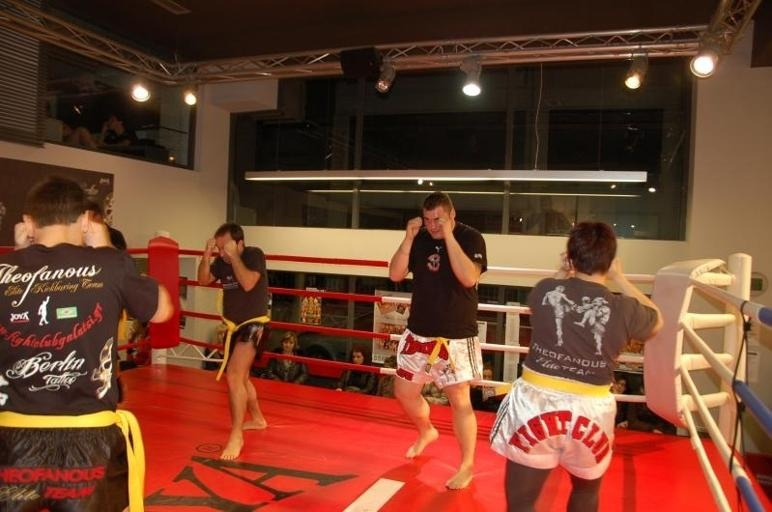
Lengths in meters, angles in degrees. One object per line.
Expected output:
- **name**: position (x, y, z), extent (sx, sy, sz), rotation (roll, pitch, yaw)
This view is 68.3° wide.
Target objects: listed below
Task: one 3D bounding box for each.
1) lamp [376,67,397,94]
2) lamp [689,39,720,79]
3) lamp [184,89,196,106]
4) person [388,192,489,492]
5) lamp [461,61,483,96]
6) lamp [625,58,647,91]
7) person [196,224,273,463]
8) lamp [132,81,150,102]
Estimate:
- **lamp**: position (0.002, -2.283, 7.306), extent (0.207, 0.320, 0.358), rotation (1, 13, 1)
- **lamp**: position (3.523, -2.203, 6.302), extent (0.266, 0.289, 0.438), rotation (-45, 5, 48)
- **lamp**: position (-2.709, -2.208, 7.893), extent (0.152, 0.173, 0.153), rotation (-6, 14, -26)
- **person**: position (0.376, 0.552, 4.231), extent (0.818, 2.009, 0.694), rotation (8, 15, 31)
- **lamp**: position (1.066, -2.236, 7.186), extent (0.239, 0.366, 0.557), rotation (2, 13, 6)
- **lamp**: position (2.905, -2.135, 6.592), extent (0.190, 0.331, 0.242), rotation (5, 14, 18)
- **person**: position (-1.204, 0.597, 4.644), extent (0.561, 1.690, 1.165), rotation (-4, 14, -19)
- **lamp**: position (-3.294, -2.201, 7.621), extent (0.222, 0.200, 0.153), rotation (-1, 13, -7)
